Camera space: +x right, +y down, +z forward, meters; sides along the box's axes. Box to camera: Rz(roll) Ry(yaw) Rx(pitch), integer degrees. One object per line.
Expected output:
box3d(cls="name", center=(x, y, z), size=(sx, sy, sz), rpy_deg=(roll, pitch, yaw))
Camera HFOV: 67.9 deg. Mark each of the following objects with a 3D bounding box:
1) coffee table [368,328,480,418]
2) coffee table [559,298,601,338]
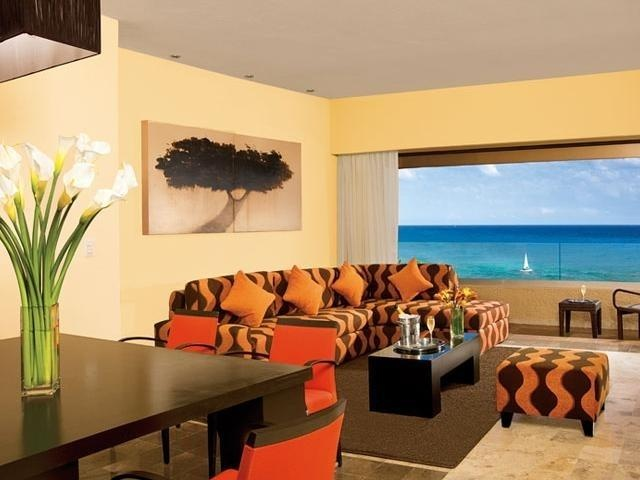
box3d(cls="coffee table", center=(0.821, 0.944, 4.185), size=(0.523, 0.473, 1.174), rpy_deg=(0, 2, 30))
box3d(cls="coffee table", center=(3.894, 1.144, 7.142), size=(0.613, 0.590, 0.637), rpy_deg=(-2, -4, 28))
